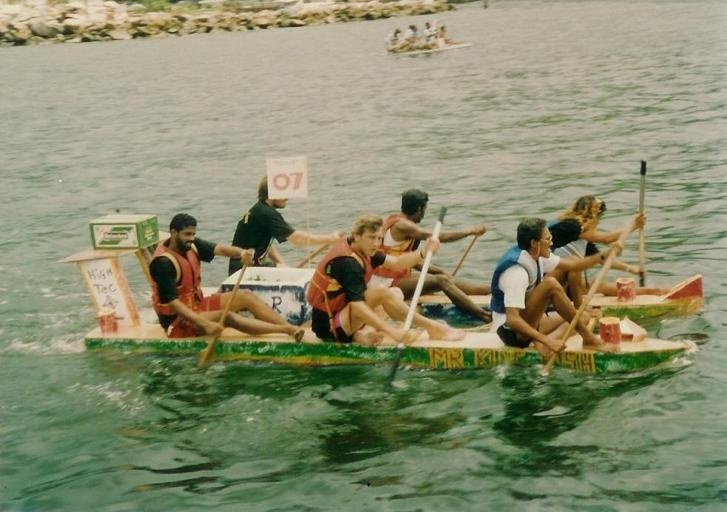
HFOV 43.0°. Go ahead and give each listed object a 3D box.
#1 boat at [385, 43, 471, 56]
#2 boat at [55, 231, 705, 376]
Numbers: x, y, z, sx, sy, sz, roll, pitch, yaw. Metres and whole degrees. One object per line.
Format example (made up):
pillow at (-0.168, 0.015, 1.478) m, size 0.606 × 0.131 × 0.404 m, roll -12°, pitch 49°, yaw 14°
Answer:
boat at (3.623, -11.684, 52.227) m, size 4.669 × 0.678 × 2.586 m, roll 0°, pitch 14°, yaw 2°
boat at (-0.148, 1.105, 14.854) m, size 7.837 × 1.015 × 3.581 m, roll -1°, pitch 3°, yaw 7°
